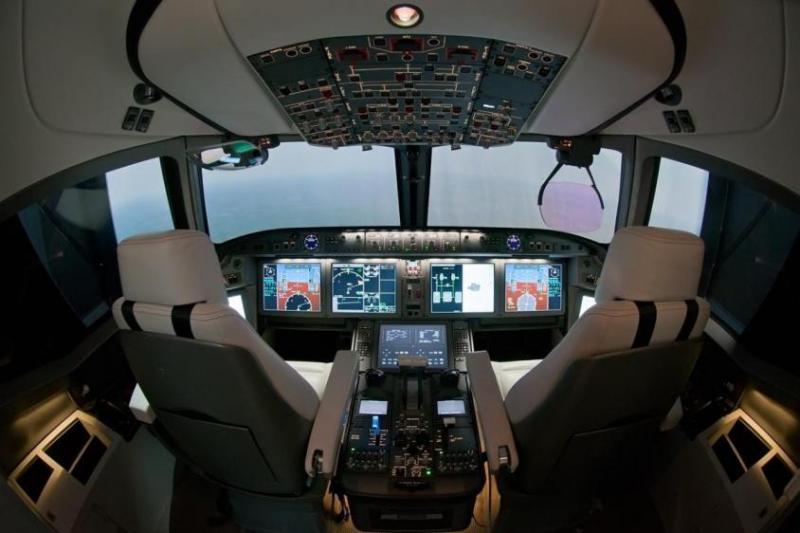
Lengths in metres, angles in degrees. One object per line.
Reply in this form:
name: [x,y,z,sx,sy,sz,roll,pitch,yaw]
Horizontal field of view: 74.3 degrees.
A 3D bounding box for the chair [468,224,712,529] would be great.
chair: [1.297,0.571,3.796,1.557,2.121,1.806,1,9,-7]
